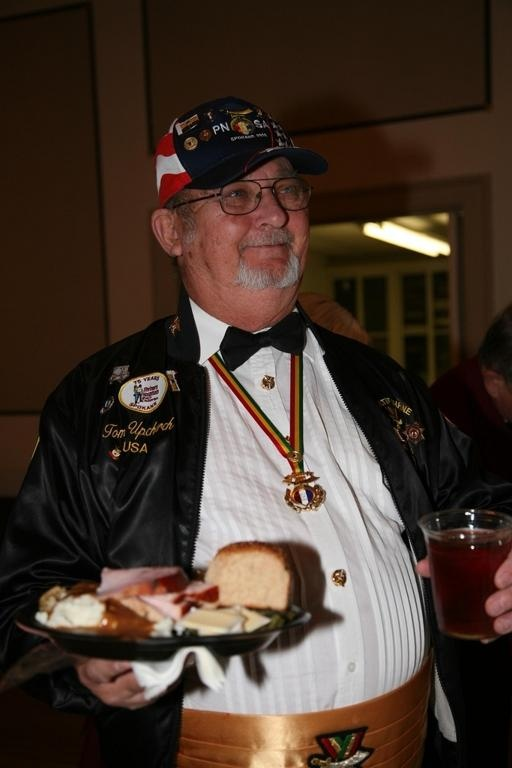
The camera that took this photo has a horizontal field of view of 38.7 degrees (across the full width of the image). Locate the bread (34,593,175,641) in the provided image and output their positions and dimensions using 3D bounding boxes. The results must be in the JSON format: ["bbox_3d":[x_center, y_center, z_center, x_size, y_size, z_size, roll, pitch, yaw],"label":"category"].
[{"bbox_3d":[-0.163,0.252,0.792,0.100,0.018,0.062,5,7,7],"label":"bread"}]

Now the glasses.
[{"bbox_3d":[-0.033,-0.358,1.386,0.088,0.042,0.138,-9,-4,-36],"label":"glasses"}]

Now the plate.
[{"bbox_3d":[-0.096,0.276,0.786,0.313,0.055,0.092,4,10,-8],"label":"plate"}]

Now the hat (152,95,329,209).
[{"bbox_3d":[-0.043,-0.438,1.424,0.225,0.136,0.282,-20,5,-33],"label":"hat"}]

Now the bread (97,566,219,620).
[{"bbox_3d":[-0.116,0.230,0.817,0.073,0.023,0.067,15,6,-1],"label":"bread"}]
